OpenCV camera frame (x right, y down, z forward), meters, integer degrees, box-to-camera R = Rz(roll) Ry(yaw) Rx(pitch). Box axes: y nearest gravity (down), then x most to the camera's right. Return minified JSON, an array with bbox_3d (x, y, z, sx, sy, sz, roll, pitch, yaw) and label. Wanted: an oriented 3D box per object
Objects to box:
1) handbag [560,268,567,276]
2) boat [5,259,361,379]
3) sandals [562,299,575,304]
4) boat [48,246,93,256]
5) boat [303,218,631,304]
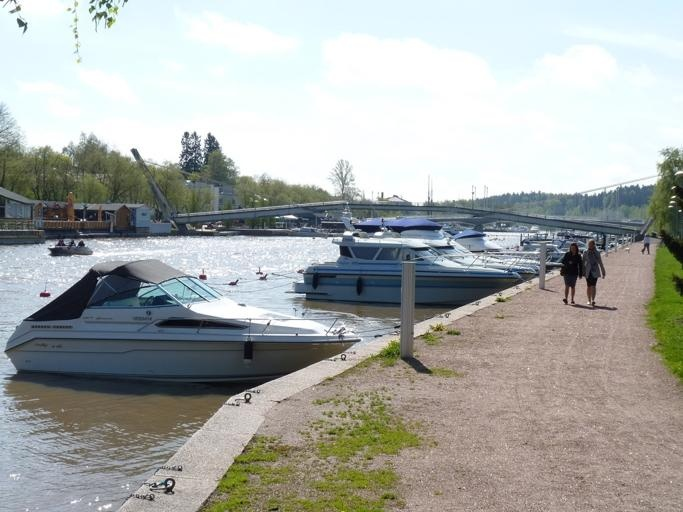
[{"bbox_3d":[6.866,0.473,21.697,0.242,0.268,0.240,-1,-2,9],"label":"handbag"},{"bbox_3d":[-4.073,1.191,17.645,9.728,3.183,3.133,0,5,5],"label":"boat"},{"bbox_3d":[6.918,1.364,21.313,0.184,0.137,0.458,0,-2,-3],"label":"sandals"},{"bbox_3d":[-22.837,-0.475,59.249,1.126,0.987,3.858,0,-2,30],"label":"boat"},{"bbox_3d":[2.847,0.283,30.030,9.802,3.787,3.481,1,0,18],"label":"boat"}]
